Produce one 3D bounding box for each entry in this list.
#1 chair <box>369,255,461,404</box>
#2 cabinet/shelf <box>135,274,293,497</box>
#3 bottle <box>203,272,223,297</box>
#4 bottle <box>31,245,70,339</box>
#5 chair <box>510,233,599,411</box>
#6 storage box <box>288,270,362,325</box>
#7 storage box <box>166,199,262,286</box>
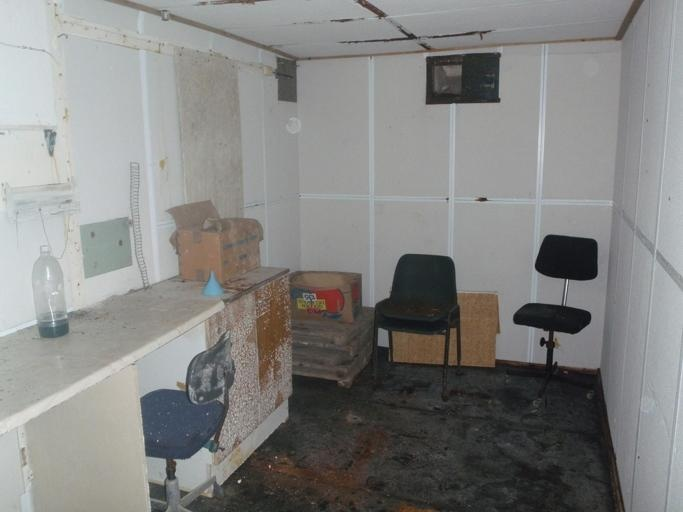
[{"bbox_3d":[0.654,0.558,4.572,0.723,1.074,0.691,2,11,11],"label":"chair"},{"bbox_3d":[-0.807,0.786,3.222,0.597,1.170,1.216,1,7,14],"label":"cabinet/shelf"},{"bbox_3d":[-0.802,0.175,3.354,0.138,0.158,0.139,0,4,-23],"label":"bottle"},{"bbox_3d":[-1.554,0.176,2.815,0.157,0.442,0.314,-6,12,-29],"label":"bottle"},{"bbox_3d":[1.776,0.494,4.439,0.568,1.280,0.806,6,12,29],"label":"chair"},{"bbox_3d":[-0.140,0.336,4.757,0.591,0.333,0.427,1,18,14],"label":"storage box"},{"bbox_3d":[-0.868,-0.122,3.728,0.459,0.516,0.592,5,12,26],"label":"storage box"}]
